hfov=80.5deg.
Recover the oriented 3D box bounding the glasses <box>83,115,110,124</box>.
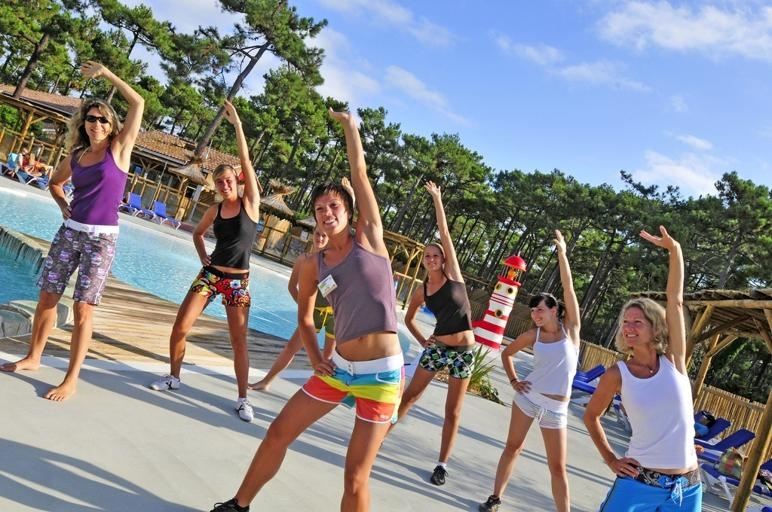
[{"bbox_3d":[-2.707,-1.263,4.244,0.191,0.090,0.062,17,-1,0],"label":"glasses"}]

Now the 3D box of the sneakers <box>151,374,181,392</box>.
[{"bbox_3d":[-2.424,1.410,5.019,0.306,0.133,0.121,5,-4,-32],"label":"sneakers"}]

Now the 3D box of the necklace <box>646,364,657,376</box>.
[{"bbox_3d":[2.058,0.898,3.540,0.019,0.057,0.078,15,-11,-13],"label":"necklace"}]

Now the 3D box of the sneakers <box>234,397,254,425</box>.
[{"bbox_3d":[-1.559,1.699,5.005,0.124,0.140,0.321,5,-2,-33],"label":"sneakers"}]
